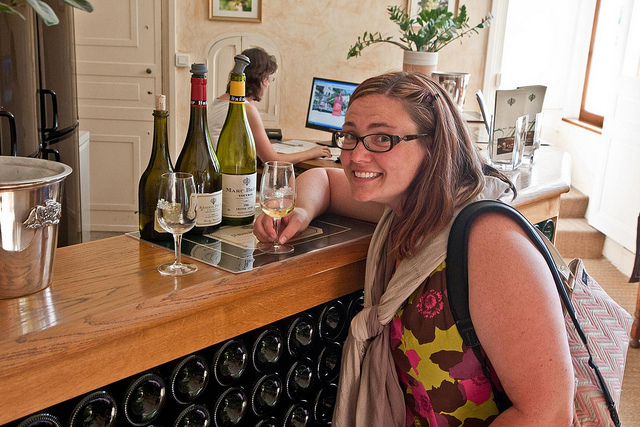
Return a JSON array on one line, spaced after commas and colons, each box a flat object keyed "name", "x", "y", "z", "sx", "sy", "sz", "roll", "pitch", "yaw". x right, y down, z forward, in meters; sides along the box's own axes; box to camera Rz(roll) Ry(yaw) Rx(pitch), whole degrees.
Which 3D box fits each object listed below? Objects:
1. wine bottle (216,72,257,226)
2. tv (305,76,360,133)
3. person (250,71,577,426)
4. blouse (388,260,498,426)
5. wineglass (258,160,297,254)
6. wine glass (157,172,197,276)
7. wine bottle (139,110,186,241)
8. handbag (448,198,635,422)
[{"name": "wine bottle", "x": -0.275, "y": -0.219, "z": 1.424, "sx": 0.152, "sy": 0.501, "sz": 0.148, "roll": 4, "pitch": 21, "yaw": -1}, {"name": "tv", "x": 0.111, "y": -1.013, "z": 4.063, "sx": 0.573, "sy": 0.445, "sz": 0.050, "roll": -5, "pitch": 19, "yaw": -44}, {"name": "person", "x": 0.267, "y": 0.064, "z": 1.878, "sx": 1.059, "sy": 1.730, "sz": 0.953, "roll": 1, "pitch": 3, "yaw": -8}, {"name": "blouse", "x": 0.299, "y": 0.397, "z": 1.341, "sx": 0.286, "sy": 0.439, "sz": 0.335, "roll": 4, "pitch": 17, "yaw": 4}, {"name": "wineglass", "x": -0.132, "y": -0.011, "z": 1.312, "sx": 0.112, "sy": 0.275, "sz": 0.099, "roll": -10, "pitch": 22, "yaw": -40}, {"name": "wine glass", "x": -0.360, "y": 0.028, "z": 1.106, "sx": 0.098, "sy": 0.247, "sz": 0.106, "roll": -3, "pitch": 17, "yaw": -18}, {"name": "wine bottle", "x": -0.452, "y": -0.068, "z": 1.223, "sx": 0.132, "sy": 0.410, "sz": 0.139, "roll": 5, "pitch": 17, "yaw": -2}, {"name": "handbag", "x": 0.589, "y": 0.251, "z": 1.185, "sx": 0.528, "sy": 0.553, "sz": 0.302, "roll": 5, "pitch": 17, "yaw": 6}]
